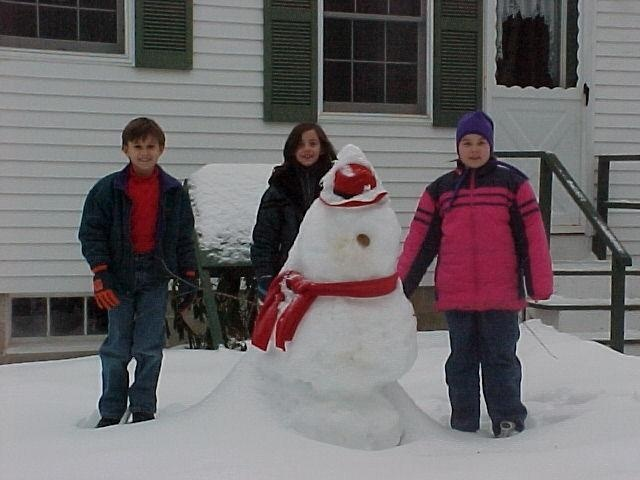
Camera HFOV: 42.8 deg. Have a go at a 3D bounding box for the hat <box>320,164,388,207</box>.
[{"bbox_3d":[0.199,-0.291,4.609,0.270,0.113,0.266,-2,34,3],"label":"hat"}]

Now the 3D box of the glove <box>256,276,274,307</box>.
[{"bbox_3d":[-0.357,0.319,5.241,0.142,0.186,0.191,2,-7,-4],"label":"glove"}]

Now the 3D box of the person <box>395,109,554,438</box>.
[{"bbox_3d":[0.982,0.207,5.176,0.903,2.007,0.398,0,8,17],"label":"person"}]

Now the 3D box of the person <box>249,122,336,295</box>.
[{"bbox_3d":[-0.170,-0.211,5.329,0.589,1.086,0.330,-5,8,-23],"label":"person"}]

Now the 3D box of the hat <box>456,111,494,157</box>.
[{"bbox_3d":[0.994,-0.713,5.279,0.188,0.225,0.265,0,2,4],"label":"hat"}]

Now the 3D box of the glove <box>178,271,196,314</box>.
[{"bbox_3d":[-0.853,0.328,5.326,0.091,0.278,0.117,16,23,12],"label":"glove"}]

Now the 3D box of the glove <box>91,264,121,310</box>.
[{"bbox_3d":[-1.340,0.295,5.111,0.154,0.295,0.131,-3,8,-4],"label":"glove"}]

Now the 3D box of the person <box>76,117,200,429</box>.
[{"bbox_3d":[-1.125,0.178,5.159,0.711,1.875,0.378,-5,8,-18],"label":"person"}]

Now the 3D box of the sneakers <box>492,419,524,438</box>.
[{"bbox_3d":[1.167,1.176,5.095,0.128,0.037,0.105,-2,32,13],"label":"sneakers"}]
